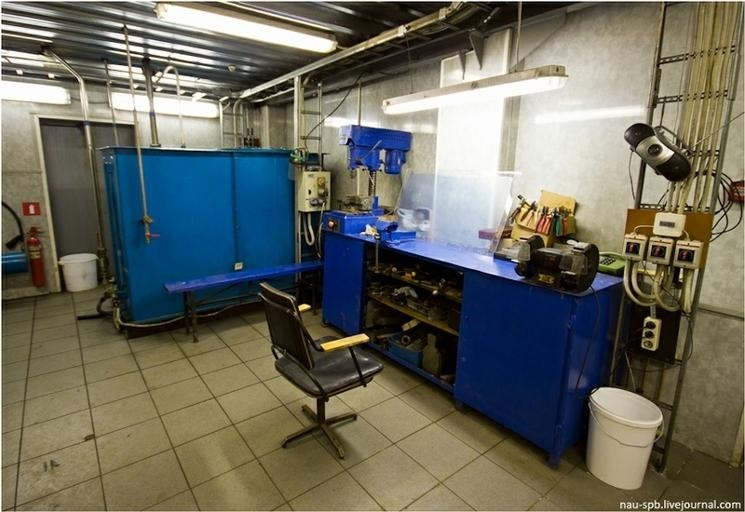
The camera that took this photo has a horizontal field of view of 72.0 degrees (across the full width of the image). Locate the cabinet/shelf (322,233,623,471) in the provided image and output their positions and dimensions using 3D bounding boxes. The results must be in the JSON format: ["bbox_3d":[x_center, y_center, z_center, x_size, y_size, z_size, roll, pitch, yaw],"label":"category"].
[{"bbox_3d":[0.746,0.573,5.667,1.018,1.484,3.583,-12,21,-39],"label":"cabinet/shelf"}]

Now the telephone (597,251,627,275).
[{"bbox_3d":[2.166,0.073,4.657,0.204,0.166,0.230,6,15,22],"label":"telephone"}]

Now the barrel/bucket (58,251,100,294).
[{"bbox_3d":[-4.081,0.225,7.172,0.558,0.465,0.599,1,7,0],"label":"barrel/bucket"}]

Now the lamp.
[{"bbox_3d":[0.837,-1.448,4.544,1.616,0.115,0.280,4,5,42],"label":"lamp"}]

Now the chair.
[{"bbox_3d":[-0.418,0.968,4.458,0.821,1.486,0.660,-9,18,-30],"label":"chair"}]

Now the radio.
[{"bbox_3d":[2.278,-0.815,4.089,0.507,0.463,0.175,6,17,23],"label":"radio"}]

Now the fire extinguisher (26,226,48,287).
[{"bbox_3d":[-4.518,0.036,6.905,0.179,0.833,0.235,-6,17,-22],"label":"fire extinguisher"}]

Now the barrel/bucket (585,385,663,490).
[{"bbox_3d":[1.949,1.540,4.481,0.797,0.697,0.737,2,-3,0],"label":"barrel/bucket"}]
